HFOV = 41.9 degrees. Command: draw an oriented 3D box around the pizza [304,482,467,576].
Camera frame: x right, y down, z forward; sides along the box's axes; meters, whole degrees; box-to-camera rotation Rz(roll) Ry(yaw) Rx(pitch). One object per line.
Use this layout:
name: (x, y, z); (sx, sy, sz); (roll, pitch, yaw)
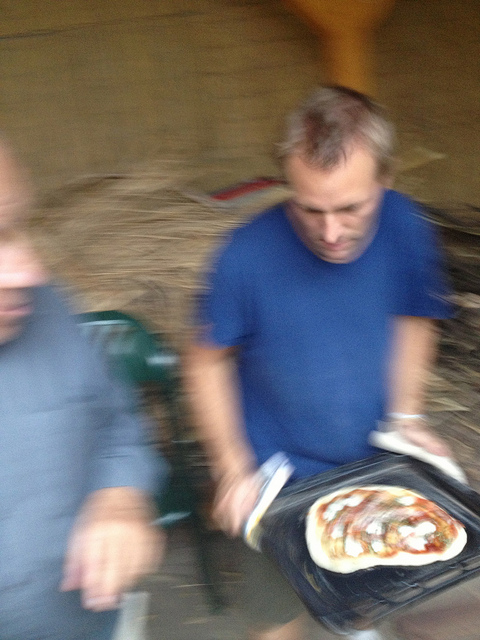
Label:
pizza: (0.109, 0.155, 0.480); (0.122, 0.024, 0.085); (-8, 37, 0)
